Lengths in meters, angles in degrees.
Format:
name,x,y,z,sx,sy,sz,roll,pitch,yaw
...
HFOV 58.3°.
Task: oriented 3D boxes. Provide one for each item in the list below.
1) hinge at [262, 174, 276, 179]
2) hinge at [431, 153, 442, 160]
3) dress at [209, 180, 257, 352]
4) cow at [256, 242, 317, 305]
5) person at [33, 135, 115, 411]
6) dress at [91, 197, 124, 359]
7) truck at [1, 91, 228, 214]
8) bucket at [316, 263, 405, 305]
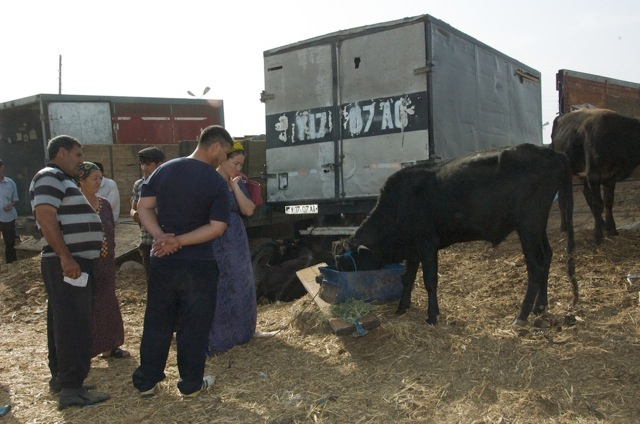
name,x,y,z,sx,sy,sz,roll,pitch,yaw
hinge,-0.995,-0.675,11.073,0.318,0.086,0.093,4,8,41
hinge,1.972,-0.935,9.684,0.112,0.066,0.162,0,3,22
dress,-1.191,0.799,7.664,0.211,2.130,0.704,4,9,42
cow,-0.598,1.188,10.848,0.500,0.928,1.285,3,8,38
person,-2.951,0.701,6.839,0.735,3.197,0.790,-4,7,-23
dress,-2.819,0.826,7.538,0.316,2.002,0.634,-2,6,-5
truck,-4.489,-1.191,11.419,2.046,2.157,3.428,4,6,31
bucket,0.631,1.050,8.423,0.972,0.391,0.628,0,-2,-30
